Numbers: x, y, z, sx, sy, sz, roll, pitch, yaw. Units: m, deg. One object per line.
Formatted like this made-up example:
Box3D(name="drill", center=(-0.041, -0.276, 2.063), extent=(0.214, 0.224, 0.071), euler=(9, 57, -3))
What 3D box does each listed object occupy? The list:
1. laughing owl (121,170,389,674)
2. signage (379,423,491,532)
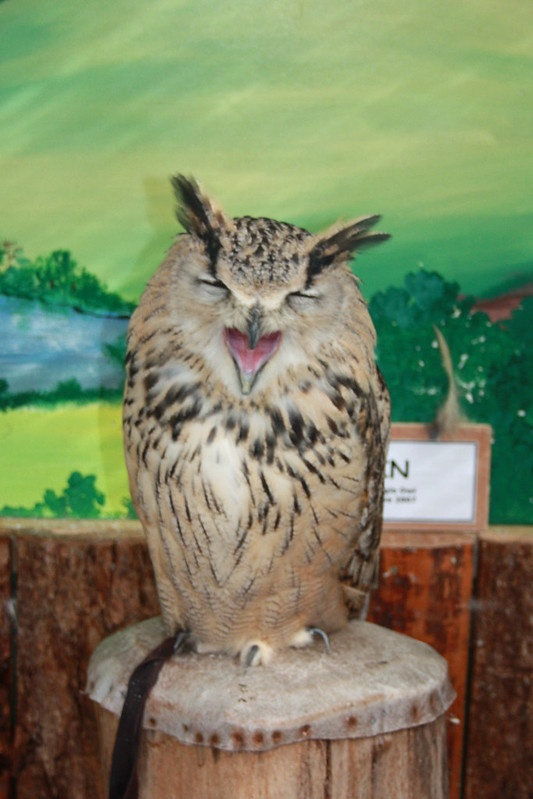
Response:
Box3D(name="laughing owl", center=(-0.010, 0.034, 1.732), extent=(0.468, 0.842, 0.269), euler=(-5, 8, 4))
Box3D(name="signage", center=(0.341, 0.180, 2.327), extent=(0.346, 0.237, 0.037), euler=(4, -6, -25))
